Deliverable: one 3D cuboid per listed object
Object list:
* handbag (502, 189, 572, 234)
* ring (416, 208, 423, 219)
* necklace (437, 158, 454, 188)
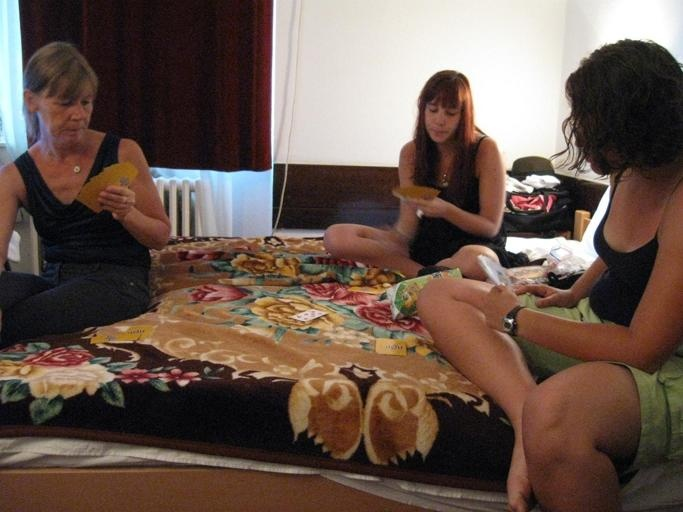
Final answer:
[{"bbox_3d":[1.156,-0.257,2.957,0.386,0.134,0.379,2,22,9],"label":"handbag"},{"bbox_3d":[0.346,-0.194,2.246,0.027,0.034,0.035,6,-8,-23],"label":"ring"},{"bbox_3d":[0.451,-0.369,2.205,0.081,0.107,0.027,-4,1,27],"label":"necklace"}]
